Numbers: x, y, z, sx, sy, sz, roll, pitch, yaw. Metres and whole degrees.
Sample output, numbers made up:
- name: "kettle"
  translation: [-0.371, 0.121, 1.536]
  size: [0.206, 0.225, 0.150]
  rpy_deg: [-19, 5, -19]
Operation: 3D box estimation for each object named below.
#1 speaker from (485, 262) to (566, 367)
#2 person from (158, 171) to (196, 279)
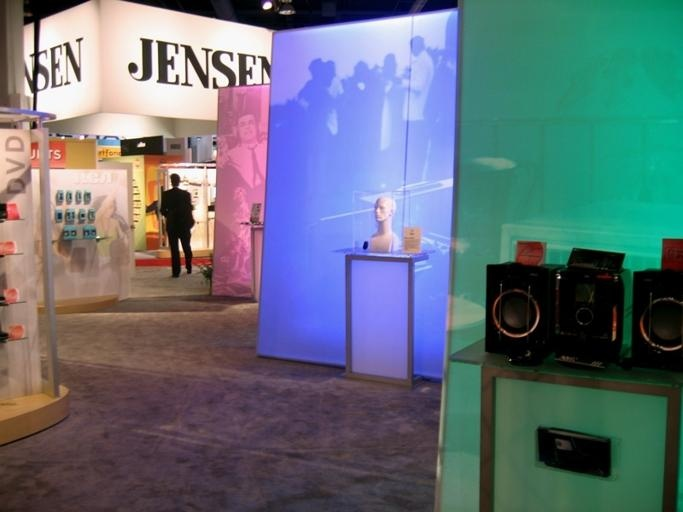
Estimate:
- name: "speaker"
  translation: [0.731, 0.222, 2.347]
  size: [0.336, 0.534, 0.352]
  rpy_deg: [1, 1, 35]
- name: "person"
  translation: [-3.118, -0.560, 10.465]
  size: [0.593, 1.930, 0.632]
  rpy_deg: [0, 2, -18]
